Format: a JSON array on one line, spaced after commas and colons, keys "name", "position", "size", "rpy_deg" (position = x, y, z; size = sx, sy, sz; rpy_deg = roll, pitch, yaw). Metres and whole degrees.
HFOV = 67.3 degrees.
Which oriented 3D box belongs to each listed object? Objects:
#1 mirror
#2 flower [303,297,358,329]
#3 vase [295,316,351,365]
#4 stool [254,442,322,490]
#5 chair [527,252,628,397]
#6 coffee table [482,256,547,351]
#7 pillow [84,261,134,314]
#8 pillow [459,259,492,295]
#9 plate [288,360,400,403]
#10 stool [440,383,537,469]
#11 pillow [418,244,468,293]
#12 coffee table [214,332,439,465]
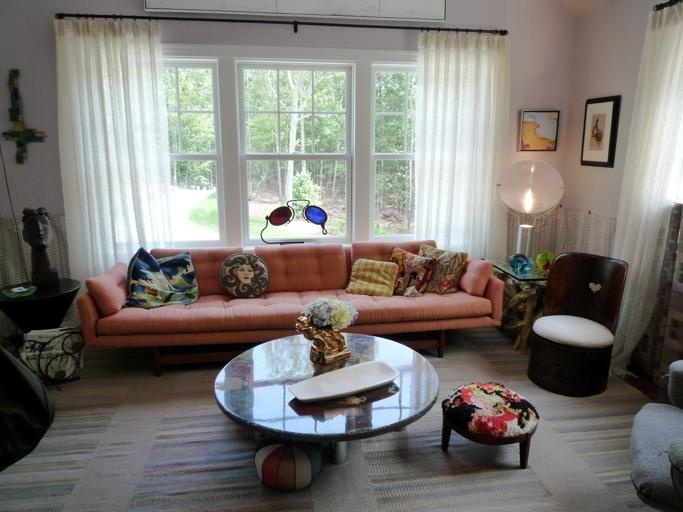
[{"name": "mirror", "position": [1.792, -0.449, 4.733], "size": [0.513, 0.869, 0.582], "rpy_deg": [12, 21, 42]}, {"name": "flower", "position": [-0.046, 0.374, 3.391], "size": [0.278, 0.156, 0.211], "rpy_deg": [1, 0, -10]}, {"name": "vase", "position": [-0.104, 0.536, 3.500], "size": [0.308, 0.324, 0.339], "rpy_deg": [11, 17, 44]}, {"name": "stool", "position": [-0.305, 1.223, 2.980], "size": [0.292, 0.150, 0.291], "rpy_deg": [1, 8, 0]}, {"name": "chair", "position": [1.779, 0.512, 3.935], "size": [0.579, 0.976, 0.582], "rpy_deg": [7, 14, 14]}, {"name": "coffee table", "position": [1.642, 0.480, 4.745], "size": [0.558, 0.583, 0.640], "rpy_deg": [1, 6, -16]}, {"name": "pillow", "position": [-1.904, 0.256, 4.449], "size": [0.227, 0.289, 1.130], "rpy_deg": [-6, 9, -9]}, {"name": "pillow", "position": [1.174, 0.195, 4.615], "size": [0.186, 0.342, 0.498], "rpy_deg": [8, 4, -6]}, {"name": "plate", "position": [0.014, 0.785, 3.185], "size": [0.427, 0.070, 0.272], "rpy_deg": [-9, 13, -16]}, {"name": "stool", "position": [0.919, 0.980, 3.105], "size": [0.480, 0.265, 0.503], "rpy_deg": [2, 14, 8]}, {"name": "pillow", "position": [0.923, 0.125, 4.568], "size": [0.374, 0.381, 0.116], "rpy_deg": [12, -3, 24]}, {"name": "coffee table", "position": [-0.087, 0.803, 3.246], "size": [1.366, 0.210, 0.994], "rpy_deg": [0, 15, 9]}]
